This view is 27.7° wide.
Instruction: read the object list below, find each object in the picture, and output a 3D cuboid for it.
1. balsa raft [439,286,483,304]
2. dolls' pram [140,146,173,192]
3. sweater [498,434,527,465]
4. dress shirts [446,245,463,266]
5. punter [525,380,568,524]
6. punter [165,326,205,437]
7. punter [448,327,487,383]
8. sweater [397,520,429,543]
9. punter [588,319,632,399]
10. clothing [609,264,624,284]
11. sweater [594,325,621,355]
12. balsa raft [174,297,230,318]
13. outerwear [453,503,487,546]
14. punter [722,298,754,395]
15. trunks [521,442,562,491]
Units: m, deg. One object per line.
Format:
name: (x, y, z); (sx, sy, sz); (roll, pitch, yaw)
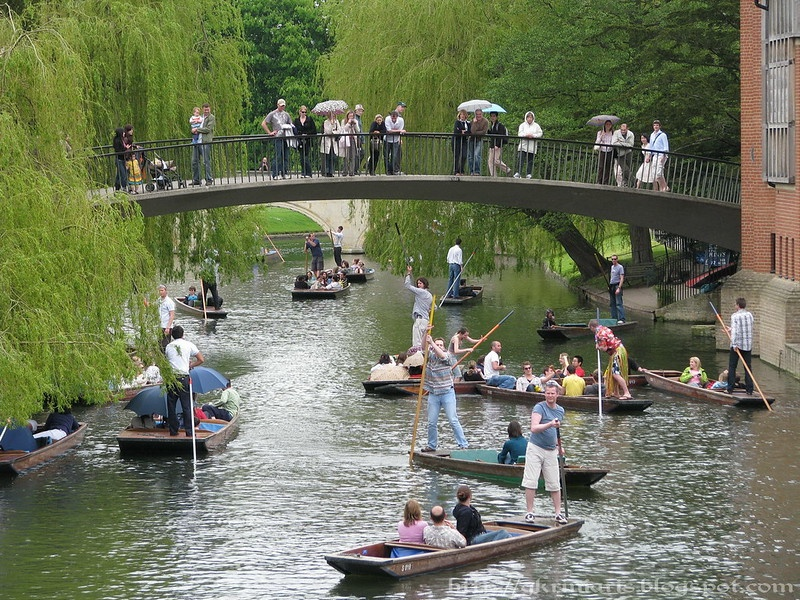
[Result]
balsa raft: (2.350, -0.142, 56.658); (0.617, 0.316, 2.016); (3, 10, 17)
dolls' pram: (-6.343, -3.437, 42.625); (1.070, 1.171, 0.654); (-8, 2, 16)
sweater: (2.421, 3.194, 34.447); (0.476, 0.777, 0.574); (-2, 15, -16)
dress shirts: (1.832, -1.478, 53.915); (0.497, 0.567, 0.282); (14, 24, 40)
punter: (2.900, 2.998, 32.624); (0.815, 2.811, 0.765); (3, 5, 1)
punter: (-4.952, 1.801, 36.469); (0.731, 2.658, 0.558); (0, 5, -35)
punter: (1.583, 1.489, 38.820); (0.865, 1.719, 0.539); (3, 24, 3)
sweater: (0.241, 4.466, 31.232); (0.577, 0.670, 0.374); (1, -10, 2)
punter: (5.191, 1.499, 39.718); (0.827, 2.089, 0.761); (0, 6, 0)
clothing: (6.662, -0.828, 49.765); (0.383, 0.622, 0.474); (-3, 11, 10)
sweater: (5.242, 1.028, 41.040); (0.349, 0.518, 0.510); (-31, 2, 41)
balsa raft: (-6.791, 0.353, 54.029); (0.677, 0.398, 2.725); (-2, 8, -27)
outerwear: (1.400, 4.335, 31.762); (0.482, 0.819, 0.746); (-7, 0, 36)
punter: (8.320, 1.124, 39.757); (0.607, 2.442, 0.675); (1, -1, -22)
trunks: (2.875, 3.334, 32.598); (0.852, 1.191, 0.431); (3, -8, -4)
